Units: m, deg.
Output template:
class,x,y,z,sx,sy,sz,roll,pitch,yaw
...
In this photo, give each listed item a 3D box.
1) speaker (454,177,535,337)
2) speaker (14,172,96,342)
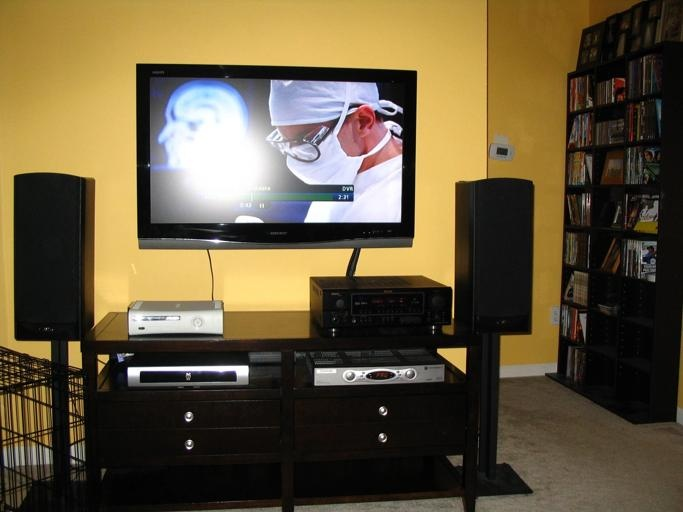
class,x,y,z,sx,sy,sz,roll,pitch,yaw
speaker,0.779,-0.021,3.320,0.362,0.755,0.412,2,14,-5
speaker,-1.343,0.007,2.991,0.340,0.750,0.187,3,14,-1
